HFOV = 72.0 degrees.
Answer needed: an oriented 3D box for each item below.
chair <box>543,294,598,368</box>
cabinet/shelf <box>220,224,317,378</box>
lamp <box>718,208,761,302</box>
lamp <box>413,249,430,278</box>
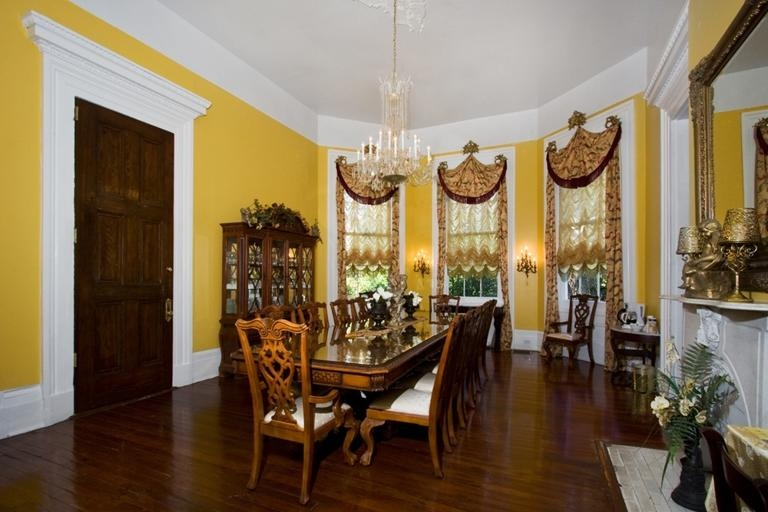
[{"bbox_3d":[3.325,1.235,9.279,0.791,1.091,1.149,7,14,27],"label":"chair"},{"bbox_3d":[-1.727,0.613,7.554,0.627,2.450,2.175,-2,-6,20],"label":"cabinet/shelf"},{"bbox_3d":[3.510,-0.004,5.260,0.332,0.916,0.514,8,15,33],"label":"lamp"},{"bbox_3d":[0.813,0.181,11.270,0.392,0.507,0.165,11,16,39],"label":"lamp"}]
